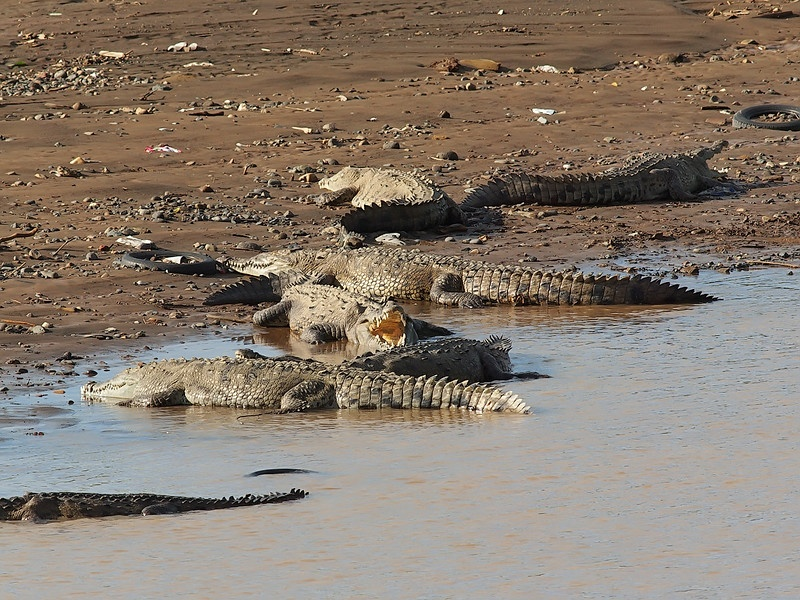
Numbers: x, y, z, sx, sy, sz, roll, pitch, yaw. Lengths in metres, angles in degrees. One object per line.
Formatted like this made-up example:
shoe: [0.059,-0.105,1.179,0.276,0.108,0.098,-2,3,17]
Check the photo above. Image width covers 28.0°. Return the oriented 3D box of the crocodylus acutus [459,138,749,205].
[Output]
crocodylus acutus: [2.941,-1.849,24.251,3.342,0.271,1.291,-5,11,-11]
